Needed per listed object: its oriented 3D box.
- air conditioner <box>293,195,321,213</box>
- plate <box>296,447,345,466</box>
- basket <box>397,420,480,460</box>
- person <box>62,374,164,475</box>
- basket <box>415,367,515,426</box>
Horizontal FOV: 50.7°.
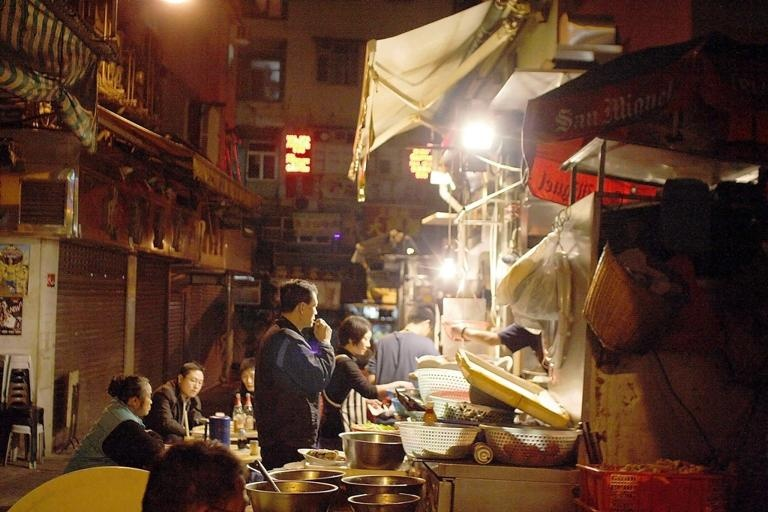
[{"bbox_3d":[-2.700,-1.835,28.367,0.896,0.505,0.256,0,-11,-4],"label":"air conditioner"},{"bbox_3d":[-0.592,1.974,7.863,0.441,0.162,0.621,1,-13,-8],"label":"plate"},{"bbox_3d":[0.467,1.715,7.409,0.444,0.200,0.472,16,-25,-42],"label":"basket"},{"bbox_3d":[-2.877,1.917,9.385,1.028,1.061,0.964,-6,-12,21],"label":"person"},{"bbox_3d":[0.732,1.410,7.938,0.567,0.144,0.575,25,-9,-14],"label":"basket"}]
